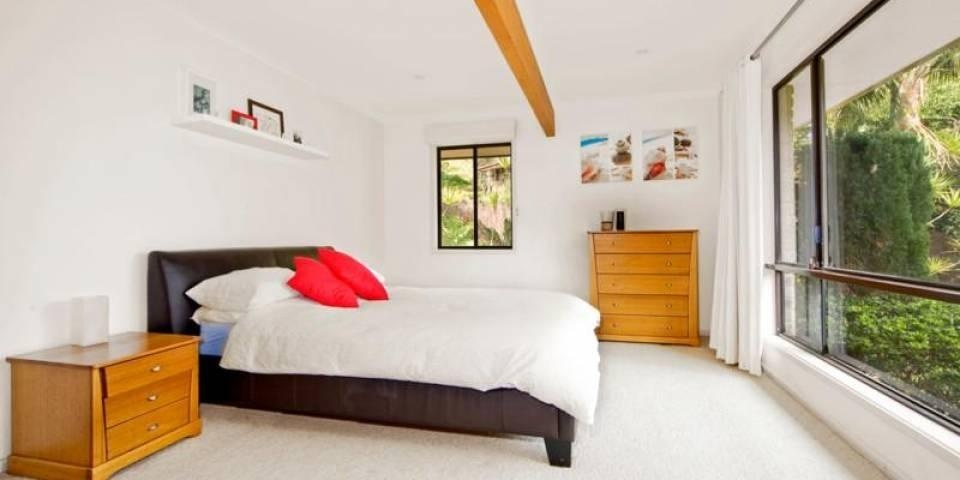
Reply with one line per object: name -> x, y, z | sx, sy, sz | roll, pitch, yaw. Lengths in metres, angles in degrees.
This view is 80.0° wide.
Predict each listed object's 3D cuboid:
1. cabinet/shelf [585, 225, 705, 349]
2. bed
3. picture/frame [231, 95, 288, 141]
cabinet/shelf -> 2.270, 0.677, 7.870 | 1.856, 1.726, 0.714 | -1, -4, 11
bed -> -1.372, 1.135, 6.177 | 4.324, 2.194, 0.811 | -2, 2, 10
picture/frame -> -2.730, -1.536, 7.086 | 0.258, 0.418, 0.794 | -2, 1, 19
